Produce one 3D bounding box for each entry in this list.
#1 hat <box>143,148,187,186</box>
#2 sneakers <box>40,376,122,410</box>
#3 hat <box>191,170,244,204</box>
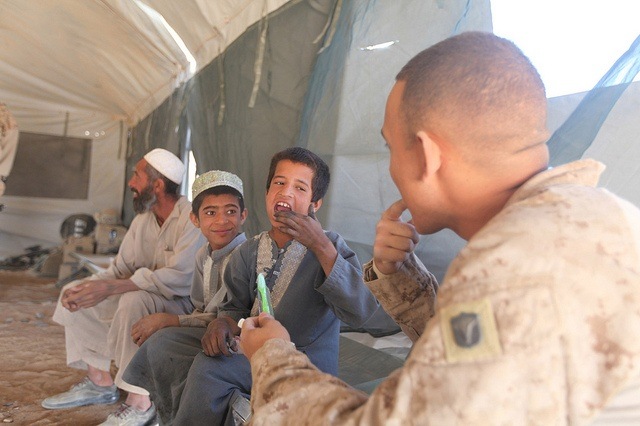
[{"bbox_3d":[-1.356,-0.457,4.247,0.341,0.171,0.350,25,0,20],"label":"hat"},{"bbox_3d":[-1.794,1.374,3.720,0.567,0.222,0.187,5,-5,-17],"label":"sneakers"},{"bbox_3d":[-0.686,-0.191,3.268,0.341,0.142,0.341,-7,-7,11],"label":"hat"}]
